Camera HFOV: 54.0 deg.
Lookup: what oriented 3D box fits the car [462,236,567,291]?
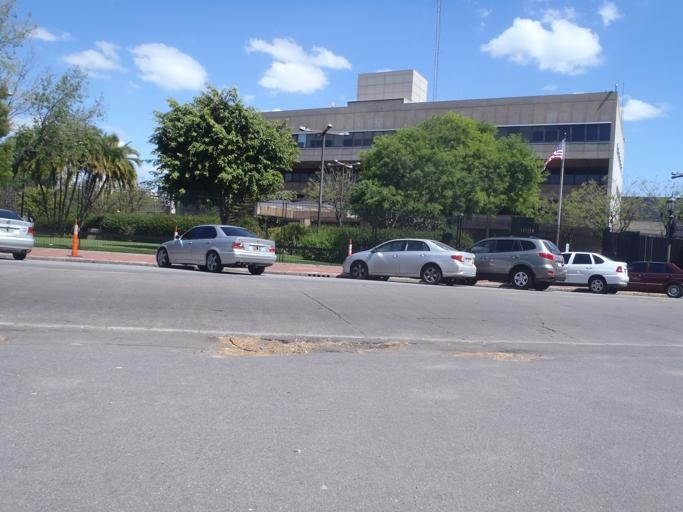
[{"bbox_3d":[6.068,0.236,23.749,3.275,1.494,1.574,5,1,38],"label":"car"}]

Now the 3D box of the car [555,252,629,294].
[{"bbox_3d":[9.193,0.610,24.920,2.728,1.307,1.342,5,1,33],"label":"car"}]

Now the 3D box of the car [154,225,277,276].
[{"bbox_3d":[-4.367,-0.236,22.356,4.229,1.420,1.698,5,1,27],"label":"car"}]
